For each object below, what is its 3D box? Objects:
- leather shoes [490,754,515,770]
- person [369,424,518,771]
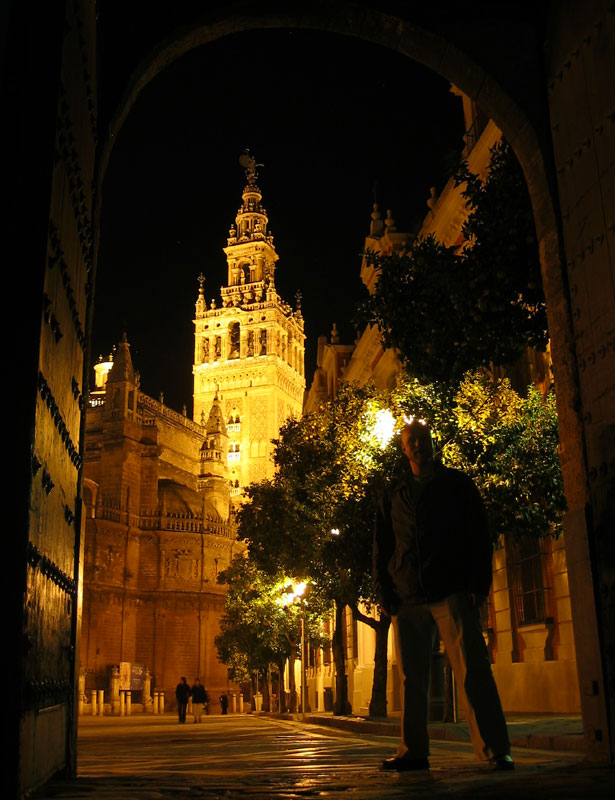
[{"bbox_3d":[0.939,1.747,4.462,0.100,0.082,0.056,-6,-3,-15],"label":"leather shoes"},{"bbox_3d":[0.696,1.005,5.030,0.761,1.890,0.429,-11,-21,26],"label":"person"}]
